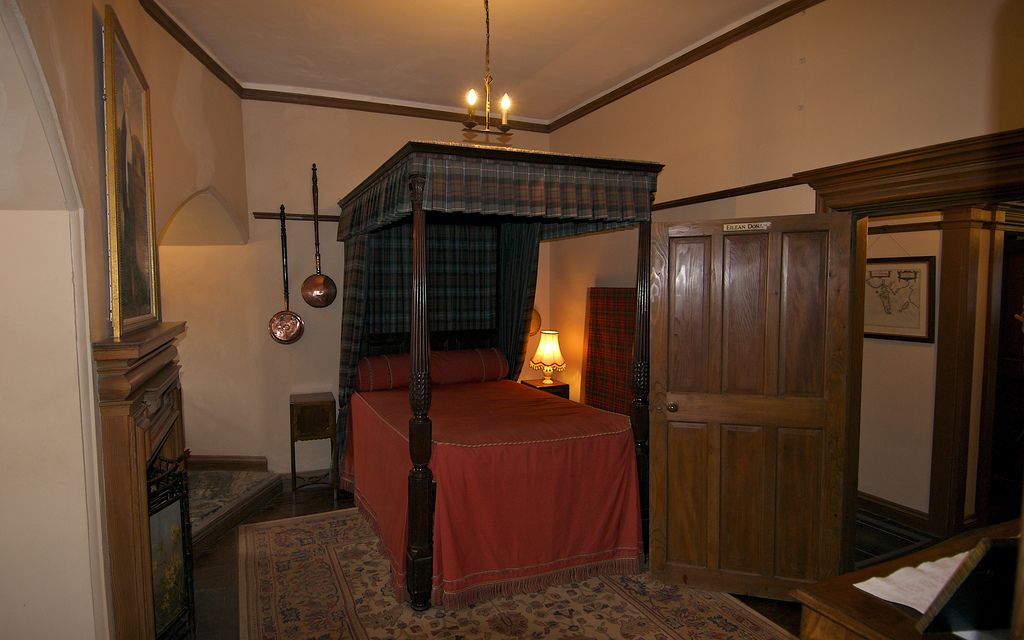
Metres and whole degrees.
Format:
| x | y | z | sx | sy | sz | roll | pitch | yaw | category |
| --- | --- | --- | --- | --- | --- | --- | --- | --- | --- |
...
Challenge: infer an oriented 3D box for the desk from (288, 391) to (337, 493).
| x | y | z | sx | sy | sz | roll | pitch | yaw | category |
| --- | --- | --- | --- | --- | --- | --- | --- | --- | --- |
| -2.260 | 1.406 | 8.489 | 0.493 | 1.067 | 0.695 | 0 | 6 | -17 | desk |

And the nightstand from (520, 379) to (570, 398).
| x | y | z | sx | sy | sz | roll | pitch | yaw | category |
| --- | --- | --- | --- | --- | --- | --- | --- | --- | --- |
| 0.485 | 0.839 | 9.263 | 0.321 | 0.313 | 0.328 | -2 | 4 | -22 | nightstand |

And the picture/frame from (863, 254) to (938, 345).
| x | y | z | sx | sy | sz | roll | pitch | yaw | category |
| --- | --- | --- | --- | --- | --- | --- | --- | --- | --- |
| 3.978 | -0.210 | 7.614 | 0.068 | 0.871 | 0.854 | 3 | -8 | -24 | picture/frame |
